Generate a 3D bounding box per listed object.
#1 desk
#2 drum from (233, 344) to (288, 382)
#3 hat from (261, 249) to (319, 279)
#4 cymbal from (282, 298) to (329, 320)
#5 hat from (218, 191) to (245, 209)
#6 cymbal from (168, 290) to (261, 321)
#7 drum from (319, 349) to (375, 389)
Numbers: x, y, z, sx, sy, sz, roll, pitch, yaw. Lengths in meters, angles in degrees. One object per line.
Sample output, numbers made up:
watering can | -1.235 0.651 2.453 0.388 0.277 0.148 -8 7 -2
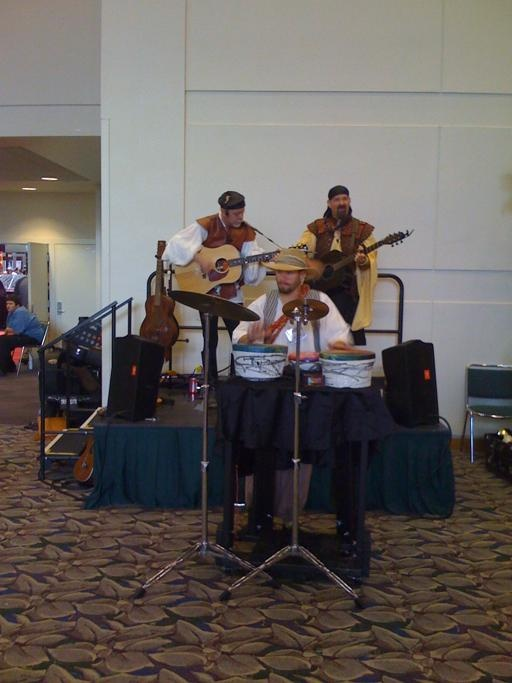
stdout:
desk | 0.249 0.608 3.089 0.709 0.746 0.806 -6 -9 24
drum | 0.021 0.102 2.953 0.186 0.104 0.182 0 -8 0
hat | 0.200 -0.453 3.877 0.258 0.109 0.284 7 -13 34
cymbal | 0.199 -0.139 2.829 0.194 0.093 0.180 2 7 8
hat | -0.169 -0.897 4.246 0.137 0.125 0.169 -4 8 -37
cymbal | -0.166 -0.145 2.748 0.201 0.046 0.197 10 11 25
drum | 0.392 0.107 2.846 0.187 0.102 0.177 0 5 0
